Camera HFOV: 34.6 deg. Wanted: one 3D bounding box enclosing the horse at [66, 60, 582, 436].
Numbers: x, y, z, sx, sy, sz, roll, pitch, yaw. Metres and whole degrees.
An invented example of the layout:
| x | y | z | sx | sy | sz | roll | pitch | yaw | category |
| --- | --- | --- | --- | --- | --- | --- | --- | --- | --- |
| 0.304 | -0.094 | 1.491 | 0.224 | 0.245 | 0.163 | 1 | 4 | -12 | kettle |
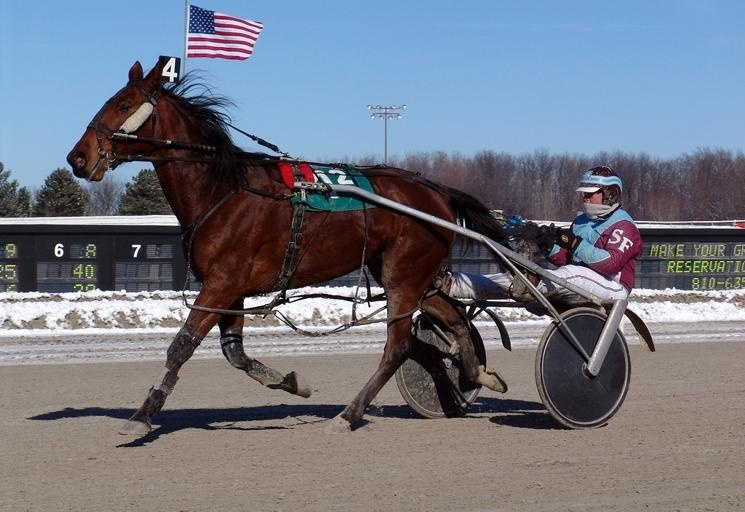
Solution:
| x | y | z | sx | sy | sz | roll | pitch | yaw | category |
| --- | --- | --- | --- | --- | --- | --- | --- | --- | --- |
| -0.673 | 0.017 | 12.192 | 4.639 | 3.214 | 1.058 | 4 | 2 | -8 | horse |

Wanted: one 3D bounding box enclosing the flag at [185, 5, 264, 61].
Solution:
| x | y | z | sx | sy | sz | roll | pitch | yaw | category |
| --- | --- | --- | --- | --- | --- | --- | --- | --- | --- |
| -2.972 | -4.337 | 23.477 | 1.404 | 1.070 | 0.510 | -1 | 3 | -6 | flag |

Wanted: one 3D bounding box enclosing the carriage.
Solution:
| x | y | z | sx | sy | sz | roll | pitch | yaw | category |
| --- | --- | --- | --- | --- | --- | --- | --- | --- | --- |
| -0.237 | 0.003 | 12.295 | 5.745 | 3.299 | 1.109 | 5 | -4 | -14 | carriage |
